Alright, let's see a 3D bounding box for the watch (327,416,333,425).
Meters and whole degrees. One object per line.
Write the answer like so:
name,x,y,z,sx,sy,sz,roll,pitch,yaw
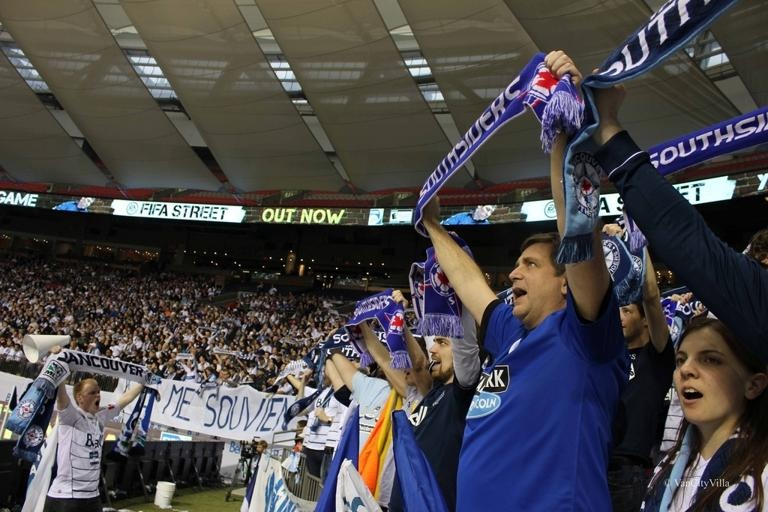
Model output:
watch,-0.805,2.540,8.086,0.061,0.095,0.089,2,-7,14
